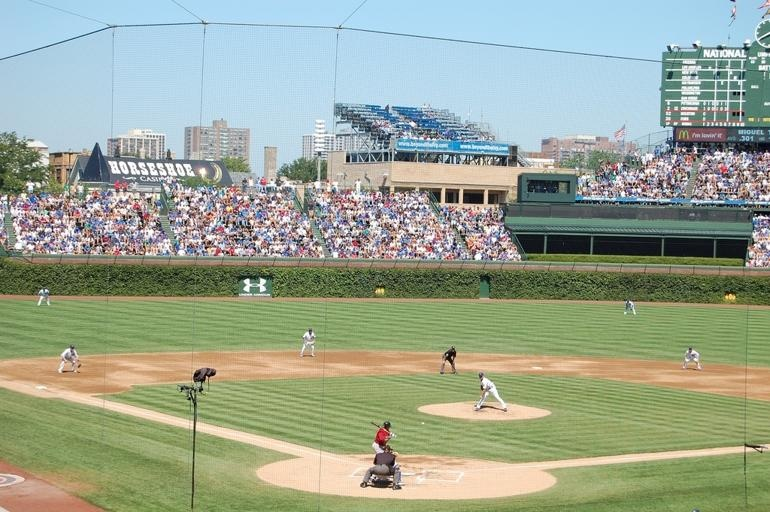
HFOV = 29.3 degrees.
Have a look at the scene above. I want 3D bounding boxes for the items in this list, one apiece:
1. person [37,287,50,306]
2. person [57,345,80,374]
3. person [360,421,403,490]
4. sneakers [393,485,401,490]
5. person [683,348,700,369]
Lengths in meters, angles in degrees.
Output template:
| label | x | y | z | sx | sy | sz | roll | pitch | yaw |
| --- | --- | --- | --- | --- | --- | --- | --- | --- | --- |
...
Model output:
| label | x | y | z | sx | sy | sz | roll | pitch | yaw |
| --- | --- | --- | --- | --- | --- | --- | --- | --- | --- |
| person | -20.514 | 2.399 | 88.441 | 0.751 | 1.002 | 1.987 | 0 | 3 | -13 |
| person | -16.134 | 5.299 | 74.936 | 1.018 | 1.340 | 0.934 | -10 | 34 | -42 |
| person | -0.100 | 8.415 | 62.585 | 1.637 | 2.805 | 0.819 | 0 | 4 | -1 |
| sneakers | 0.511 | 9.767 | 62.407 | 0.391 | 0.158 | 0.148 | -1 | 4 | -4 |
| person | 16.578 | 5.572 | 79.654 | 1.084 | 1.275 | 0.834 | -2 | 10 | 6 |
